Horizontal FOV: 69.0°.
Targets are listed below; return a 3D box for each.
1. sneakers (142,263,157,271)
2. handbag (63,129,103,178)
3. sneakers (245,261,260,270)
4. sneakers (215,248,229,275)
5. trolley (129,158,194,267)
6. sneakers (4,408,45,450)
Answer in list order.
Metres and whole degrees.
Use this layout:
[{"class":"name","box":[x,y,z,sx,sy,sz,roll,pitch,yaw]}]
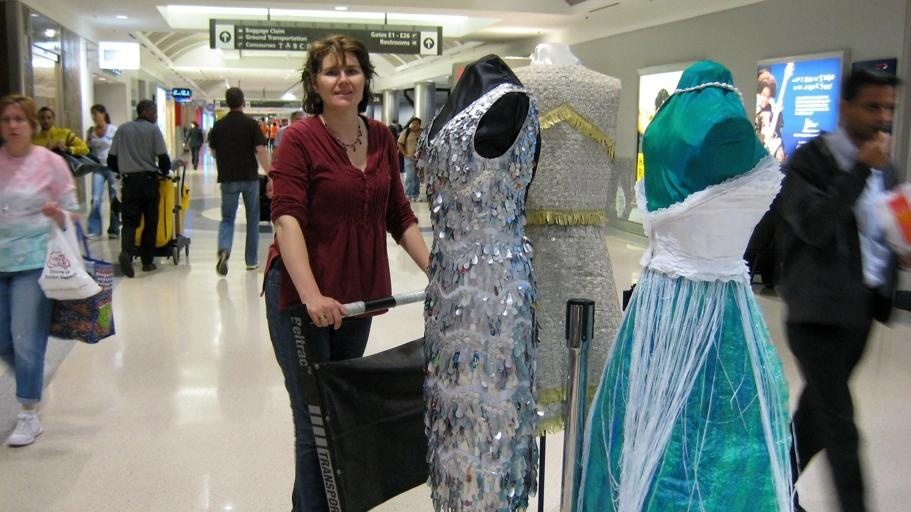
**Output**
[{"class":"sneakers","box":[-3.955,0.143,8.533,0.062,0.099,0.150,4,12,18]},{"class":"handbag","box":[-4.502,-1.225,7.930,0.366,0.192,0.420,-10,-34,-4]},{"class":"sneakers","box":[-2.655,0.117,8.619,0.063,0.120,0.180,3,15,9]},{"class":"sneakers","box":[-2.880,0.084,8.219,0.135,0.394,0.159,6,1,-18]},{"class":"trolley","box":[-3.944,-0.629,8.801,0.869,1.234,0.943,9,8,36]},{"class":"sneakers","box":[-2.995,1.192,4.658,0.138,0.202,0.317,-1,-6,-1]}]
